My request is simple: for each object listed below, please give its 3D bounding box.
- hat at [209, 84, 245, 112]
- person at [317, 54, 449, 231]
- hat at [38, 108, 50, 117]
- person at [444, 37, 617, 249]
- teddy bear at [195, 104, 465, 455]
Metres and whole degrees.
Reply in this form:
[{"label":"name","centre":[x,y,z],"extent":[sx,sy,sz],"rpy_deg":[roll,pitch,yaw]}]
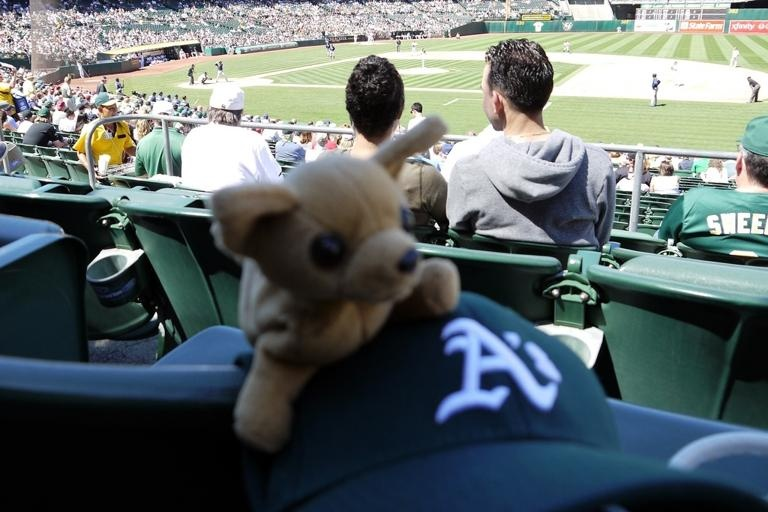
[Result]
[{"label":"hat","centre":[-1.104,-1.122,4.172],"extent":[0.217,0.147,0.302],"rpy_deg":[7,34,-6]},{"label":"person","centre":[-0.007,-0.711,3.331],"extent":[0.799,1.122,0.756],"rpy_deg":[-11,22,-21]},{"label":"hat","centre":[-6.149,-2.607,10.589],"extent":[0.195,0.085,0.272],"rpy_deg":[6,23,-14]},{"label":"person","centre":[0.734,-0.498,2.974],"extent":[0.781,1.167,0.867],"rpy_deg":[-10,28,-6]},{"label":"teddy bear","centre":[-0.115,0.006,1.220],"extent":[0.482,0.483,0.667],"rpy_deg":[17,33,34]}]
